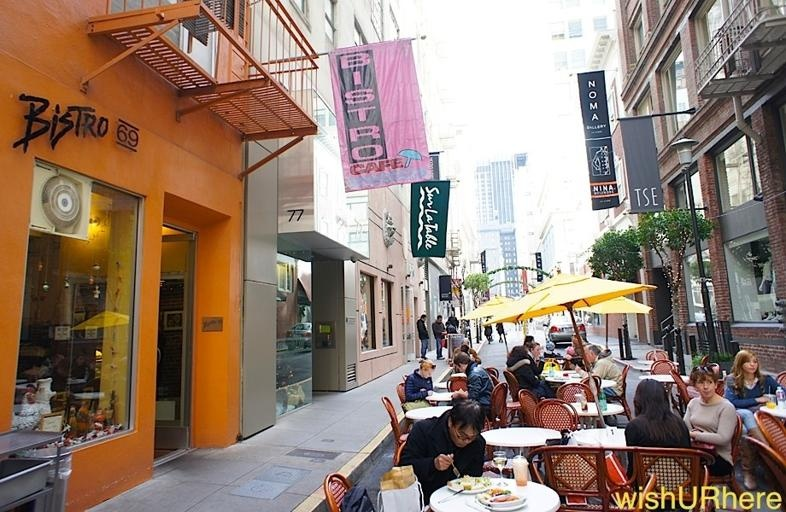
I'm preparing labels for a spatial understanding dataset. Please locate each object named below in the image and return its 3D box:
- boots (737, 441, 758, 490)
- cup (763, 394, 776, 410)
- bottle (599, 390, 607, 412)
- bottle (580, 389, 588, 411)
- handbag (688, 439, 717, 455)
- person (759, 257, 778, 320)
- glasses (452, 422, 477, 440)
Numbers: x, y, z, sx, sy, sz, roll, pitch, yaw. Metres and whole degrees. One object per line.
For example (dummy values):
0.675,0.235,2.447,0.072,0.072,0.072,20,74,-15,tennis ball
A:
5.668,3.301,8.198,0.217,0.775,0.544,-10,-10,32,boots
6.355,2.474,8.647,0.194,0.219,0.198,-1,-3,0,cup
3.817,2.655,9.354,0.115,0.331,0.378,-8,-10,19,bottle
3.568,2.734,9.600,0.142,0.269,0.445,-8,-10,18,bottle
4.669,2.860,7.652,0.184,0.101,0.603,-7,-9,9,handbag
12.434,1.123,17.027,0.325,1.954,1.100,-8,-10,21,person
0.914,2.265,6.545,0.226,0.073,0.237,17,25,-16,glasses
